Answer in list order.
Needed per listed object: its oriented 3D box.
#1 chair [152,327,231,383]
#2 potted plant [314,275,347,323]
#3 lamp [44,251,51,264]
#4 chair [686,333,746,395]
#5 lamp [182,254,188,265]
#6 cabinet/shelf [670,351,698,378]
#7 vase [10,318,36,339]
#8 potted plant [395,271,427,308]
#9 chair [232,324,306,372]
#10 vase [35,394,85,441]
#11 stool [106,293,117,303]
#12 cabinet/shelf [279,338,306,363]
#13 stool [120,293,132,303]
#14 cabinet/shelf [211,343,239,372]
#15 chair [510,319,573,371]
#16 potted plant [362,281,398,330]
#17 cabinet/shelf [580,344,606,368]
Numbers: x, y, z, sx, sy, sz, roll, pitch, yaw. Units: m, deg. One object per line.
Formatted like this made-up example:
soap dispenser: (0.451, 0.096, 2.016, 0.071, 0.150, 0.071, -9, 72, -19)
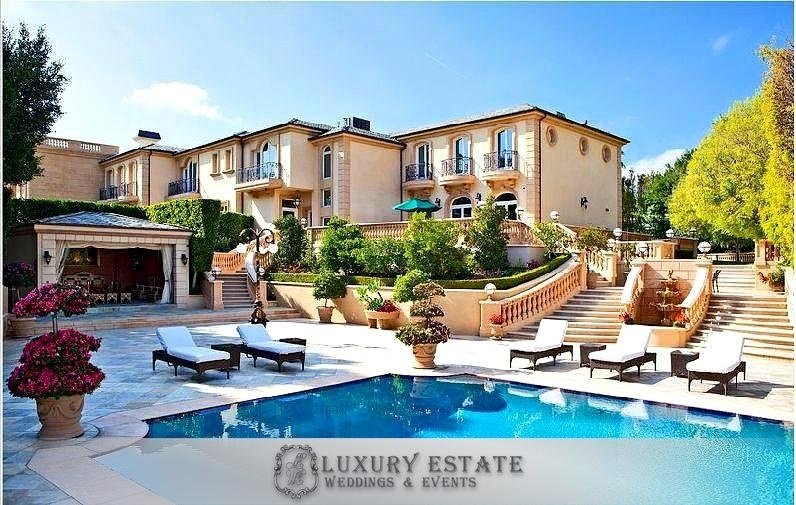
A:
chair: (-5.961, 2.830, 15.556, 2.130, 1.184, 1.141, 2, -3, 32)
potted plant: (-3.115, 2.045, 24.632, 1.548, 2.368, 1.188, 5, 10, 25)
lamp: (-15.347, 0.187, 23.662, 0.279, 0.538, 0.173, -7, 12, -38)
chair: (8.575, 2.881, 14.434, 1.756, 1.120, 0.996, -7, 4, -43)
lamp: (-10.837, 0.303, 27.394, 0.307, 0.566, 0.115, -9, 13, -43)
cabinet/shelf: (7.905, 3.058, 15.042, 0.919, 0.914, 0.691, -4, -8, 32)
vase: (-14.091, 2.799, 20.166, 0.788, 0.626, 0.788, -1, -7, -5)
potted plant: (0.538, 1.414, 22.005, 1.124, 1.406, 1.356, 0, -12, -6)
chair: (-3.949, 2.832, 16.616, 2.561, 1.101, 0.992, -2, -5, 43)
vase: (-7.295, 3.561, 11.743, 0.900, 0.867, 0.880, 2, -10, -38)
stool: (-15.330, 2.426, 28.878, 0.503, 0.479, 0.169, -2, -1, 41)
cabinet/shelf: (-3.145, 3.059, 16.294, 0.752, 0.775, 1.272, -2, 10, -14)
stool: (-14.624, 2.446, 29.030, 0.533, 0.176, 0.536, 7, -28, -38)
cabinet/shelf: (-5.051, 3.005, 16.095, 0.812, 0.832, 0.828, -1, -1, -34)
chair: (4.489, 2.823, 16.892, 2.028, 1.207, 1.128, -3, 1, -35)
potted plant: (-0.722, 2.289, 22.848, 1.615, 1.363, 1.882, 1, -1, -31)
cabinet/shelf: (5.705, 2.947, 15.988, 0.735, 0.761, 0.755, -3, -2, 42)
